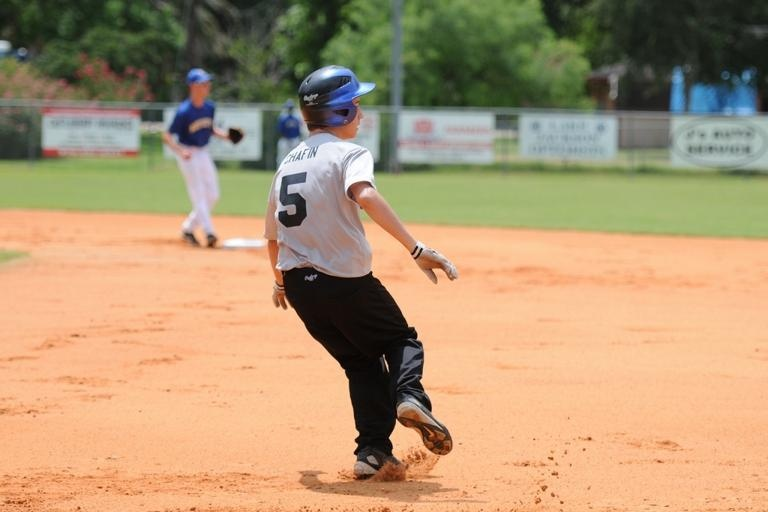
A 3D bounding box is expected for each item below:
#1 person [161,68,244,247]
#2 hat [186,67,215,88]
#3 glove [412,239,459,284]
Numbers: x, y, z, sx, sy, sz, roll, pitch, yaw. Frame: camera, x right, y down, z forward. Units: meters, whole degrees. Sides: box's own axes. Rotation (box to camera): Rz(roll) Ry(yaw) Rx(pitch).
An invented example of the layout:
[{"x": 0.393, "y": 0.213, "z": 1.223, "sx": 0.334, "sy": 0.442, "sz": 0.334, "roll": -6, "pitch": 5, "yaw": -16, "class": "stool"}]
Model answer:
[{"x": -3.183, "y": -1.615, "z": 22.935, "sx": 0.939, "sy": 3.046, "sz": 1.053, "roll": 0, "pitch": 4, "yaw": 1, "class": "person"}, {"x": -3.005, "y": -2.986, "z": 22.673, "sx": 0.527, "sy": 0.186, "sz": 0.331, "roll": -4, "pitch": 11, "yaw": -40, "class": "hat"}, {"x": 0.619, "y": 0.094, "z": 17.009, "sx": 0.562, "sy": 0.534, "sz": 0.521, "roll": 0, "pitch": 4, "yaw": 0, "class": "glove"}]
